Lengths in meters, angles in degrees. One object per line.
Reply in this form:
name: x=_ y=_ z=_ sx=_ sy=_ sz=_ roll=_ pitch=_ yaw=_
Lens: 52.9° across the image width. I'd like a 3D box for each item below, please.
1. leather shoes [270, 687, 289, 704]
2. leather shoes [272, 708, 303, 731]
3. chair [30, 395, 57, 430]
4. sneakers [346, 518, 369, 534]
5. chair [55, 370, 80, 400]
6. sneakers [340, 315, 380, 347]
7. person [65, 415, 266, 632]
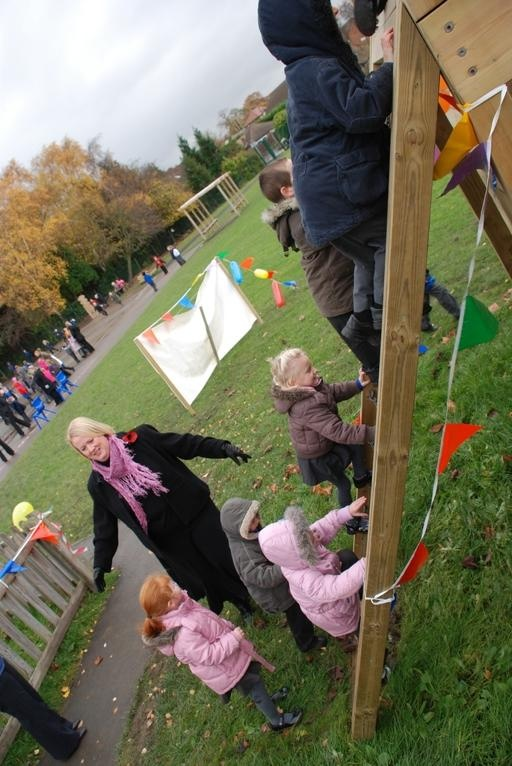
leather shoes: x=0.165 y=2.098 z=3.462 sx=0.122 sy=0.072 sz=0.045 roll=-35 pitch=33 yaw=-14
leather shoes: x=0.199 y=2.108 z=3.257 sx=0.200 sy=0.094 sz=0.109 roll=-21 pitch=38 yaw=13
chair: x=-8.546 y=1.225 z=20.879 sx=0.851 sy=1.267 sz=0.794 roll=11 pitch=32 yaw=31
sneakers: x=0.717 y=1.018 z=3.659 sx=0.113 sy=0.202 sz=0.141 roll=-2 pitch=65 yaw=3
chair: x=-8.216 y=0.110 z=22.471 sx=0.693 sy=0.962 sz=0.674 roll=20 pitch=69 yaw=39
sneakers: x=0.607 y=-0.318 z=3.011 sx=0.210 sy=0.167 sz=0.158 roll=-9 pitch=67 yaw=-1
person: x=-0.786 y=1.330 z=4.694 sx=0.731 sy=2.070 sz=1.557 roll=1 pitch=53 yaw=56
